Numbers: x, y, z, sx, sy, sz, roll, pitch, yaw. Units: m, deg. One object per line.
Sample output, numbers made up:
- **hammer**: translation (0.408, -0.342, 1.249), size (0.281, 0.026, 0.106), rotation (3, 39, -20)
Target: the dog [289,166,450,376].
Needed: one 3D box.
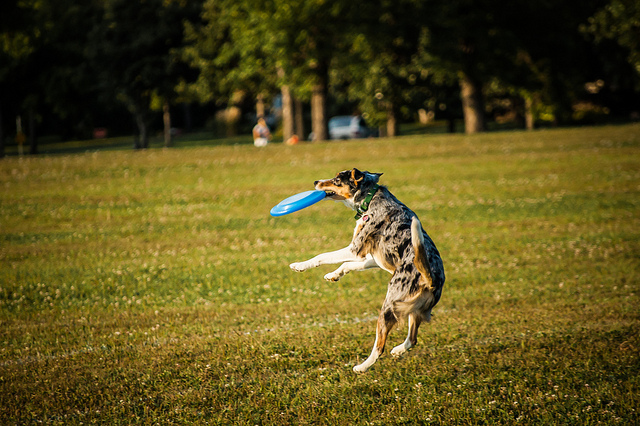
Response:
- **dog**: translation (0.894, 0.790, 16.857), size (1.772, 2.905, 0.886), rotation (1, 6, 33)
